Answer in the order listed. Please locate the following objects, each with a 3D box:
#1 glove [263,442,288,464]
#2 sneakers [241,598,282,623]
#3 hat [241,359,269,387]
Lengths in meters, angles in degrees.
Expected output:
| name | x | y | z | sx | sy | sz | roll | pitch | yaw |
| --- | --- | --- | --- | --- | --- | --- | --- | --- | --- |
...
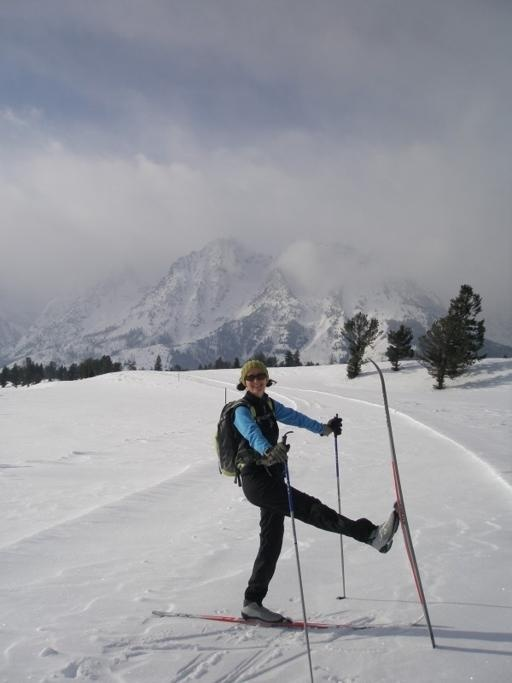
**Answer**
| name | x | y | z | sx | sy | sz | roll | pitch | yaw |
| --- | --- | --- | --- | --- | --- | --- | --- | --- | --- |
| glove | 0.173 | 0.967 | 6.014 | 0.243 | 0.090 | 0.174 | -21 | 11 | -13 |
| sneakers | 0.028 | 2.392 | 6.336 | 0.440 | 0.190 | 0.142 | -2 | -11 | 8 |
| hat | -0.018 | 0.297 | 6.728 | 0.250 | 0.211 | 0.245 | -3 | -7 | -8 |
